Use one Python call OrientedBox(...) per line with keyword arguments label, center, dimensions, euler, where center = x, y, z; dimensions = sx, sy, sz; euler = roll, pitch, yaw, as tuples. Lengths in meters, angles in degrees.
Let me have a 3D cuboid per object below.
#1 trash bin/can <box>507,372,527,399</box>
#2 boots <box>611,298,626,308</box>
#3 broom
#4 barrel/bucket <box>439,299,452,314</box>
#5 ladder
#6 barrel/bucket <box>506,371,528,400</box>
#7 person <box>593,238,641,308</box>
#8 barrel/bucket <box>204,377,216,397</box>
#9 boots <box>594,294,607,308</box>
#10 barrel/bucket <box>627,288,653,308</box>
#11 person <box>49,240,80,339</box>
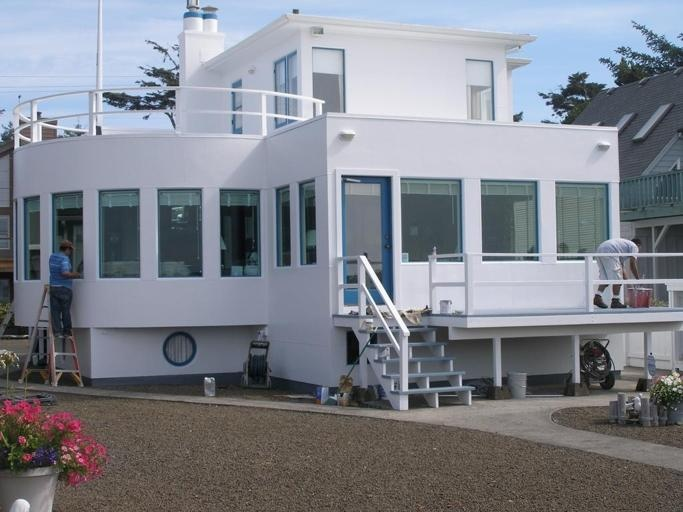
OrientedBox(label="trash bin/can", center=(3.318, 2.386, 16.121), dimensions=(0.380, 0.456, 0.401), euler=(3, -7, -41))
OrientedBox(label="boots", center=(5.371, 0.907, 16.898), dimensions=(0.246, 0.184, 0.164), euler=(-1, -6, 18))
OrientedBox(label="broom", center=(0.282, 2.274, 15.701), dimensions=(0.525, 1.892, 0.748), euler=(24, -9, 9))
OrientedBox(label="barrel/bucket", center=(1.896, 0.914, 16.018), dimensions=(0.261, 0.260, 0.206), euler=(1, 2, 16))
OrientedBox(label="ladder", center=(-5.961, 1.619, 17.940), dimensions=(0.978, 2.174, 0.884), euler=(0, -1, 25))
OrientedBox(label="barrel/bucket", center=(3.245, 2.395, 16.189), dimensions=(0.407, 0.506, 0.395), euler=(-2, -8, 0))
OrientedBox(label="person", center=(5.505, 0.237, 17.122), dimensions=(0.747, 1.552, 0.865), euler=(4, 2, 2))
OrientedBox(label="barrel/bucket", center=(-2.412, 2.395, 15.957), dimensions=(0.197, 0.321, 0.380), euler=(2, -6, -10))
OrientedBox(label="boots", center=(5.093, 0.882, 17.097), dimensions=(0.249, 0.292, 0.368), euler=(-1, -6, 16))
OrientedBox(label="barrel/bucket", center=(5.923, 0.813, 17.147), dimensions=(0.510, 0.374, 0.407), euler=(0, 0, -19))
OrientedBox(label="person", center=(-5.645, 0.659, 17.788), dimensions=(0.597, 1.947, 0.593), euler=(8, 10, 35))
